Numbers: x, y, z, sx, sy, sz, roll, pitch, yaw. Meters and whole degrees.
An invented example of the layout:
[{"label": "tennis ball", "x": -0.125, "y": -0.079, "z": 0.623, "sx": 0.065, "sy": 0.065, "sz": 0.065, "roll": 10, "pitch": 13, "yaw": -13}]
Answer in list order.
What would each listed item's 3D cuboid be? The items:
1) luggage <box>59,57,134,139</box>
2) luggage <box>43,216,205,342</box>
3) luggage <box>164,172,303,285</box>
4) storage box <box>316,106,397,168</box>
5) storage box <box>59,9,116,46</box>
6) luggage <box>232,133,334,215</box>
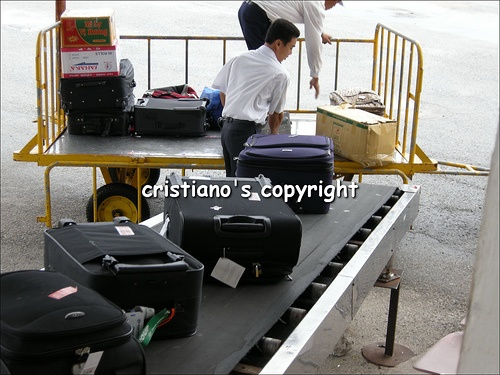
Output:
[{"label": "luggage", "x": -1.713, "y": -1.106, "z": 4.940, "sx": 0.792, "sy": 0.531, "sz": 0.809, "roll": 1, "pitch": 29, "yaw": -7}, {"label": "luggage", "x": -0.545, "y": 0.337, "z": 1.736, "sx": 0.459, "sy": 0.294, "sz": 0.752, "roll": 4, "pitch": 7, "yaw": -33}, {"label": "luggage", "x": -0.014, "y": 0.208, "z": 2.185, "sx": 0.523, "sy": 0.286, "sz": 0.719, "roll": -2, "pitch": 9, "yaw": -4}, {"label": "storage box", "x": 1.069, "y": -0.585, "z": 4.473, "sx": 0.416, "sy": 0.467, "sz": 0.812, "roll": -12, "pitch": 27, "yaw": -27}, {"label": "storage box", "x": -1.714, "y": -1.686, "z": 4.588, "sx": 0.447, "sy": 0.470, "sz": 0.282, "roll": -3, "pitch": 3, "yaw": -5}, {"label": "luggage", "x": 0.246, "y": -0.125, "z": 2.834, "sx": 0.517, "sy": 0.334, "sz": 0.526, "roll": 1, "pitch": 21, "yaw": 3}]
